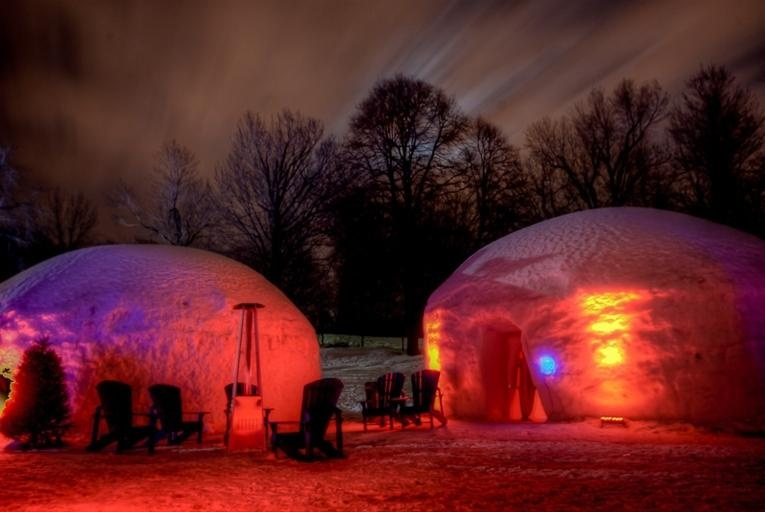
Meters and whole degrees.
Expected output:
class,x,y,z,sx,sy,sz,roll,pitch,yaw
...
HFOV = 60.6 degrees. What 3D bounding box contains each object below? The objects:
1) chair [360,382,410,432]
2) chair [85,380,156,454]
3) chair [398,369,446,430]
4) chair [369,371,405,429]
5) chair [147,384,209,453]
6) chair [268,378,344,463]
class,x,y,z,sx,sy,sz,roll,pitch,yaw
chair,0.010,3.630,16.232,0.882,1.107,1.156,-4,1,15
chair,-5.467,3.241,13.478,1.337,1.780,1.533,7,-11,-42
chair,0.860,3.422,15.776,1.361,1.362,0.787,7,-17,-33
chair,0.034,3.558,16.272,1.056,1.215,1.014,0,-4,-31
chair,-4.624,3.412,14.133,1.364,1.612,1.218,0,0,44
chair,-1.438,3.169,12.841,1.319,1.535,0.993,-2,-14,-4
